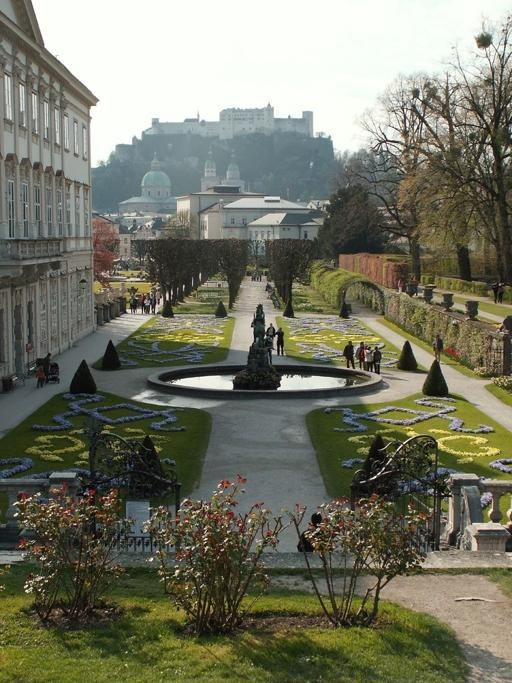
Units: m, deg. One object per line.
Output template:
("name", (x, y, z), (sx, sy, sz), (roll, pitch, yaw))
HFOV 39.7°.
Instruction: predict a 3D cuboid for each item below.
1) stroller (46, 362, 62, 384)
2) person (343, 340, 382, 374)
("stroller", (-7.573, 1.204, 26.873), (0.475, 0.684, 0.697), (1, -3, -5))
("person", (4.447, 0.704, 29.849), (1.285, 1.492, 0.310), (8, 28, 28))
